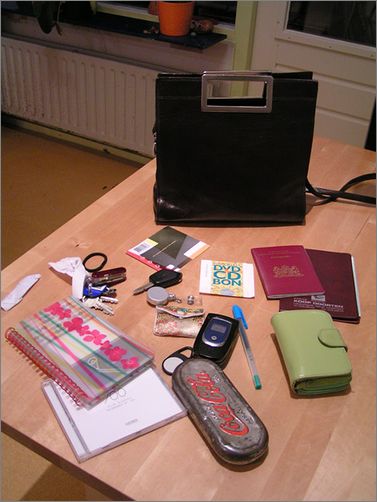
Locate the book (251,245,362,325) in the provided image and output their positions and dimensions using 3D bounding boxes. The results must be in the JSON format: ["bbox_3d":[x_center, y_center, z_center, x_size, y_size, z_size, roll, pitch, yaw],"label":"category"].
[{"bbox_3d":[0.249,0.052,0.805,0.147,0.026,0.152,2,34,4],"label":"book"}]

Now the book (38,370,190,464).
[{"bbox_3d":[-0.108,0.205,0.561,0.163,0.022,0.138,-17,41,-25],"label":"book"}]

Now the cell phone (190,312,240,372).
[{"bbox_3d":[0.043,0.140,0.644,0.047,0.028,0.087,13,41,10],"label":"cell phone"}]

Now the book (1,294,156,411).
[{"bbox_3d":[-0.182,0.152,0.629,0.169,0.030,0.130,35,43,28],"label":"book"}]

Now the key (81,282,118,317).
[{"bbox_3d":[-0.165,0.084,0.728,0.054,0.008,0.054,18,46,11],"label":"key"}]
